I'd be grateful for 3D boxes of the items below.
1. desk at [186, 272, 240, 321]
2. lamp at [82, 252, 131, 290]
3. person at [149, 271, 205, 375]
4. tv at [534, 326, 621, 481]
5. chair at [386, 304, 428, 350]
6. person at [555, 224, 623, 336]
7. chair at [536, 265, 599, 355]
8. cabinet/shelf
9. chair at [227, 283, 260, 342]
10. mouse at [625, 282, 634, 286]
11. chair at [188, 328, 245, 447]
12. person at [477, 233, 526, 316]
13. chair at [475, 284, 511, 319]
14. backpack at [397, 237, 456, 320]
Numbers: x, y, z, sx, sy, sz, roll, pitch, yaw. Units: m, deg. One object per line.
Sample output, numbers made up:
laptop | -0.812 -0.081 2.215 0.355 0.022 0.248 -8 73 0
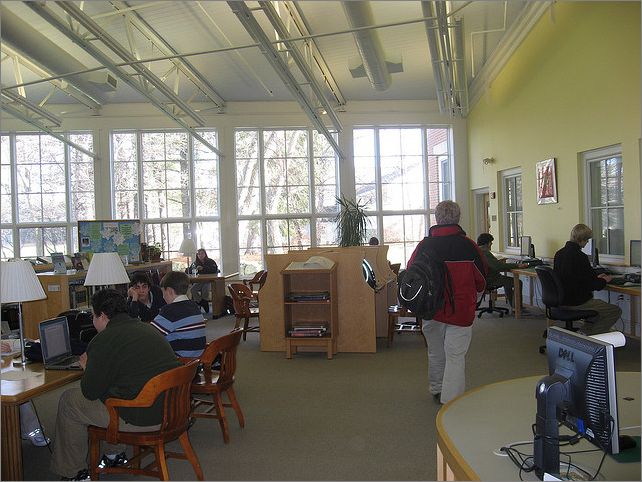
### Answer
desk | -2.249 1.074 9.408 1.150 0.653 1.174 -5 -4 17
lamp | -2.204 0.347 5.010 0.443 0.429 0.442 -3 3 -35
person | -1.357 0.748 4.567 0.585 0.925 0.549 -5 11 -26
tv | 1.279 0.795 2.472 0.445 0.655 0.303 -2 0 13
chair | 1.190 1.155 6.924 0.519 0.471 0.488 -3 6 7
person | 3.182 0.461 5.969 0.716 1.185 0.434 -2 0 13
chair | 3.072 0.842 6.154 0.733 0.979 0.667 -1 1 22
cabinet/shelf | -0.178 0.859 6.378 0.688 1.061 0.523 0 8 10
chair | -1.023 1.034 7.277 0.600 0.770 0.602 -5 3 -36
mouse | 3.706 0.511 5.928 0.096 0.048 0.292 -3 -1 32
chair | -1.046 1.296 4.470 0.656 0.807 0.645 0 -9 -16
person | 3.048 0.526 8.356 0.752 1.325 0.719 -2 1 1
chair | 2.984 0.998 8.684 0.526 0.616 0.534 -2 3 28
backpack | 0.931 0.367 4.538 0.358 0.648 0.459 -11 22 -37
